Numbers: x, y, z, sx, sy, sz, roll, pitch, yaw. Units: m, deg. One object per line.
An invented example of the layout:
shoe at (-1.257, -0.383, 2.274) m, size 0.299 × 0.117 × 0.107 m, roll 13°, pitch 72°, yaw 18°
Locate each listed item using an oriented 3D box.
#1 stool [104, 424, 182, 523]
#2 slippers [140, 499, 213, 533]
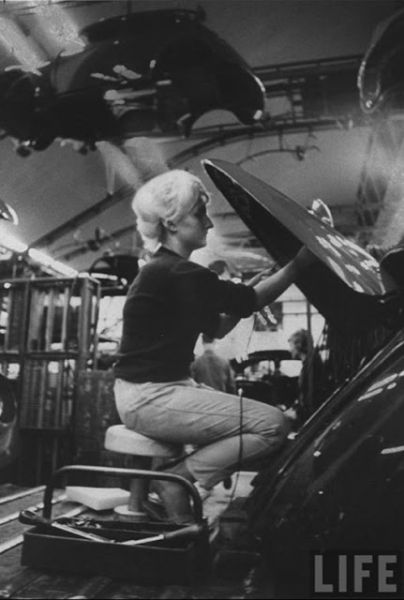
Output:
stool at (-0.151, 0.445, 1.892) m, size 0.211 × 0.221 × 0.206 m, roll 13°, pitch -12°, yaw -33°
slippers at (-0.056, 0.532, 1.799) m, size 0.186 × 0.090 × 0.026 m, roll 3°, pitch -11°, yaw 5°
